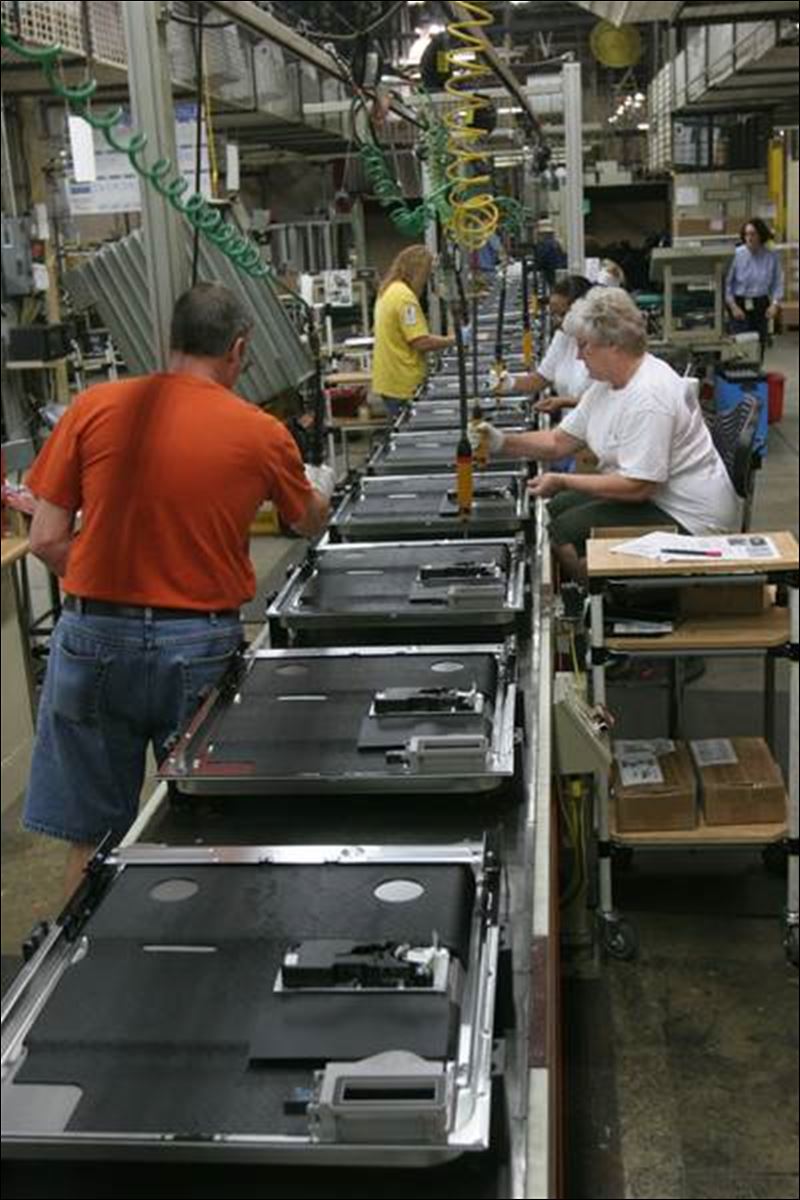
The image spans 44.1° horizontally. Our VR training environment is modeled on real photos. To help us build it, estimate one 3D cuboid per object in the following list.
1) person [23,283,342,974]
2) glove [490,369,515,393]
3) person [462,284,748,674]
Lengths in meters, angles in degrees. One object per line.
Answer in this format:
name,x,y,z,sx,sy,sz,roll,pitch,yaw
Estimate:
person,-0.462,-0.048,1.931,0.598,1.105,0.465,-3,14,-7
glove,0.526,-1.131,5.122,0.076,0.088,0.309,4,18,7
person,0.811,-0.557,3.417,1.080,1.419,0.808,0,26,15
